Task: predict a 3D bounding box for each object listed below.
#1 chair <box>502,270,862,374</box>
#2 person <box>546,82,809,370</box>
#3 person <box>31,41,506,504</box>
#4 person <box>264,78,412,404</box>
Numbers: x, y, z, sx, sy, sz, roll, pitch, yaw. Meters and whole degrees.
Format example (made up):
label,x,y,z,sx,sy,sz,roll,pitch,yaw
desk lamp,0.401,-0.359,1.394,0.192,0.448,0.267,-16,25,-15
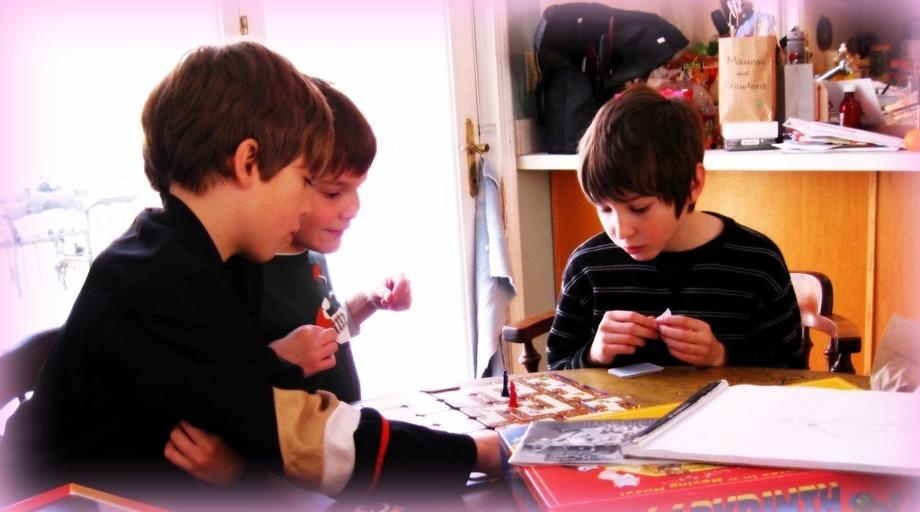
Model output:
label,x,y,z,sx,sy,sz,roll,pitch,yaw
chair,0.778,0.224,2.123,0.691,0.758,0.606,-2,-3,39
person,0.682,0.019,2.007,0.923,0.932,0.588,-1,7,27
person,-0.467,0.080,1.582,0.752,1.178,0.912,2,1,-32
person,-0.366,-0.007,1.698,0.393,0.978,0.511,2,3,-13
